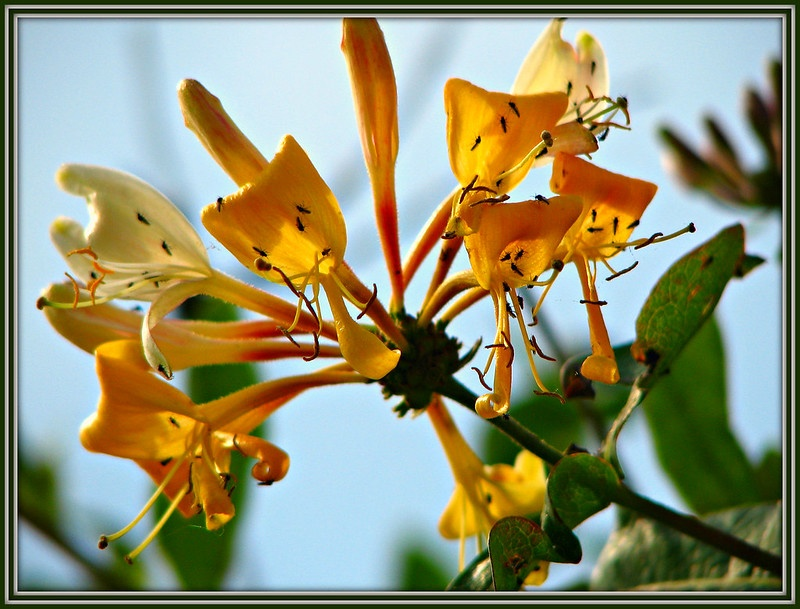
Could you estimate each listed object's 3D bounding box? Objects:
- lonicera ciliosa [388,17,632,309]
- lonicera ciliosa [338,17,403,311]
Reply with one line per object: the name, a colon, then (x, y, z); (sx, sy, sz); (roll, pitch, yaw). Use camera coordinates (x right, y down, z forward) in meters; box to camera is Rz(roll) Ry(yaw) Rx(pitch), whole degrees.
lonicera ciliosa: (0.484, -0.468, 4.267); (0.732, 0.396, 1.133); (22, -37, -17)
lonicera ciliosa: (-0.097, -0.564, 4.415); (0.157, 0.162, 1.223); (-3, -70, 7)
